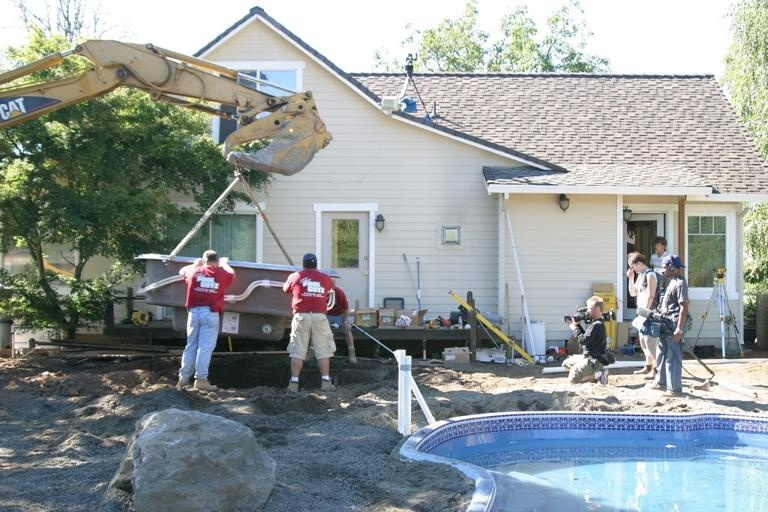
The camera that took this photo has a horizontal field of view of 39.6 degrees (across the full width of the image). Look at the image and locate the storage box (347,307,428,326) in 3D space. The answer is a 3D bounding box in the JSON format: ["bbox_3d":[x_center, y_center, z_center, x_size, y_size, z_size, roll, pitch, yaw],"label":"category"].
[{"bbox_3d":[0.100,1.425,24.468,1.604,0.393,0.462,0,-3,-6],"label":"storage box"}]

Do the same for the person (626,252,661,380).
[{"bbox_3d":[5.489,1.172,21.990,0.675,2.350,0.759,1,-8,-2],"label":"person"}]

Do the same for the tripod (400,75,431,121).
[{"bbox_3d":[0.821,-4.130,27.446,0.839,1.523,2.319,0,-3,1],"label":"tripod"}]

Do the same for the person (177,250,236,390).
[{"bbox_3d":[-3.616,1.284,21.381,1.109,2.526,1.249,0,0,0],"label":"person"}]

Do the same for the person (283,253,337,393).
[{"bbox_3d":[-1.450,1.311,21.102,0.994,2.688,0.427,1,-3,-6],"label":"person"}]

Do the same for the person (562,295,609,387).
[{"bbox_3d":[4.141,1.704,21.711,0.931,1.708,0.924,-1,0,1],"label":"person"}]

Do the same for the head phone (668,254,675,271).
[{"bbox_3d":[5.696,0.139,20.988,0.227,0.273,0.203,0,-3,13],"label":"head phone"}]

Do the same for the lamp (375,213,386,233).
[{"bbox_3d":[-0.075,-0.775,25.572,0.252,0.449,0.106,0,-3,-2],"label":"lamp"}]

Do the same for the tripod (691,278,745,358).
[{"bbox_3d":[8.033,1.405,25.358,1.044,1.982,0.915,0,-7,-37],"label":"tripod"}]
